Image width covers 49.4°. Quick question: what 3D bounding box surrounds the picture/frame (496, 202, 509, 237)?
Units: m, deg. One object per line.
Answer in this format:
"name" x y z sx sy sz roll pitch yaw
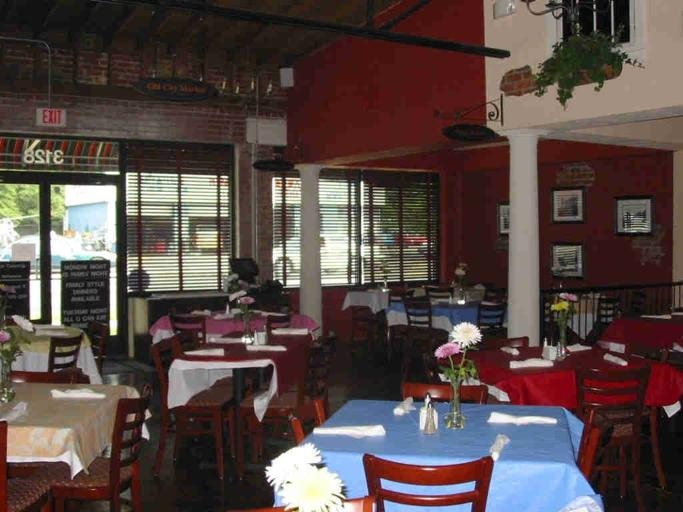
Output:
"picture/frame" 3.218 -0.726 14.702 0.125 0.489 0.350 -1 0 -26

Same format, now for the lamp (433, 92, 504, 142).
"lamp" 1.563 -1.676 9.172 0.708 0.543 0.529 2 -3 -24

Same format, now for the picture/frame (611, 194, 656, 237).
"picture/frame" 4.870 -0.677 12.240 0.053 0.719 0.653 -2 4 -36

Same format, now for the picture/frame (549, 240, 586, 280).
"picture/frame" 4.087 0.060 13.276 0.090 0.639 0.626 -1 3 -35

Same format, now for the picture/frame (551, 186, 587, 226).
"picture/frame" 4.099 -0.905 13.220 0.064 0.688 0.624 -1 5 -33

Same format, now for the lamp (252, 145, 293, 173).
"lamp" -1.077 -1.581 11.735 0.558 0.418 2.261 -1 0 -4
